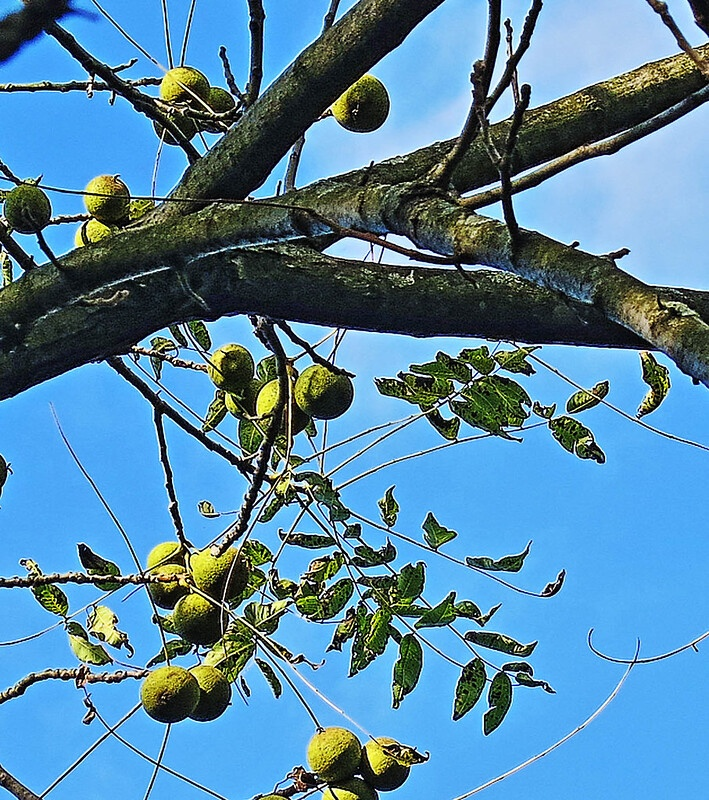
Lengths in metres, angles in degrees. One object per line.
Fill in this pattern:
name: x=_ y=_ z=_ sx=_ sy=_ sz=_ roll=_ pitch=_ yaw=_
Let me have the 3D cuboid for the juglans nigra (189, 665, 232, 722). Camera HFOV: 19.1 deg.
juglans nigra: x=-0.429 y=0.829 z=5.904 sx=0.121 sy=0.164 sz=0.132 roll=-9 pitch=-20 yaw=28

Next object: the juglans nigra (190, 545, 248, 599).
juglans nigra: x=-0.367 y=0.491 z=6.011 sx=0.134 sy=0.152 sz=0.182 roll=-2 pitch=-68 yaw=4

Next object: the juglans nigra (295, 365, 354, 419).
juglans nigra: x=-0.080 y=0.001 z=5.944 sx=0.146 sy=0.096 sz=0.169 roll=7 pitch=-69 yaw=16

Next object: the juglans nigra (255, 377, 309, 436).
juglans nigra: x=-0.216 y=0.025 z=6.156 sx=0.092 sy=0.120 sz=0.106 roll=-17 pitch=-47 yaw=-8

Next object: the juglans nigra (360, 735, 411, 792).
juglans nigra: x=0.094 y=1.007 z=5.832 sx=0.126 sy=0.118 sz=0.147 roll=12 pitch=-65 yaw=-4
